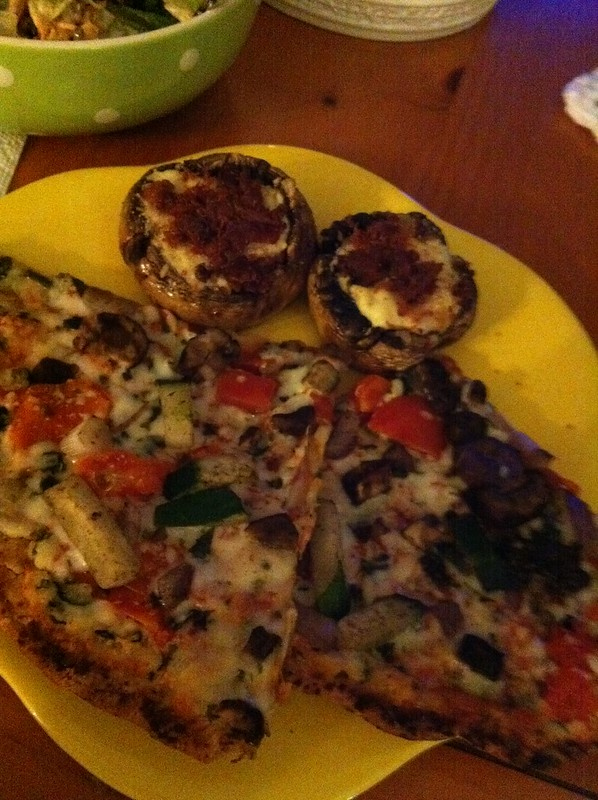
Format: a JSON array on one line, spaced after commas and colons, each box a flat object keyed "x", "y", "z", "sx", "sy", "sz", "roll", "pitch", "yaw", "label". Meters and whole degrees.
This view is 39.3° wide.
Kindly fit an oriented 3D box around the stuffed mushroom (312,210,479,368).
[{"x": 0.177, "y": -0.244, "z": 1.791, "sx": 0.386, "sy": 0.177, "sz": 0.331, "roll": 11, "pitch": 67, "yaw": -10, "label": "stuffed mushroom"}]
